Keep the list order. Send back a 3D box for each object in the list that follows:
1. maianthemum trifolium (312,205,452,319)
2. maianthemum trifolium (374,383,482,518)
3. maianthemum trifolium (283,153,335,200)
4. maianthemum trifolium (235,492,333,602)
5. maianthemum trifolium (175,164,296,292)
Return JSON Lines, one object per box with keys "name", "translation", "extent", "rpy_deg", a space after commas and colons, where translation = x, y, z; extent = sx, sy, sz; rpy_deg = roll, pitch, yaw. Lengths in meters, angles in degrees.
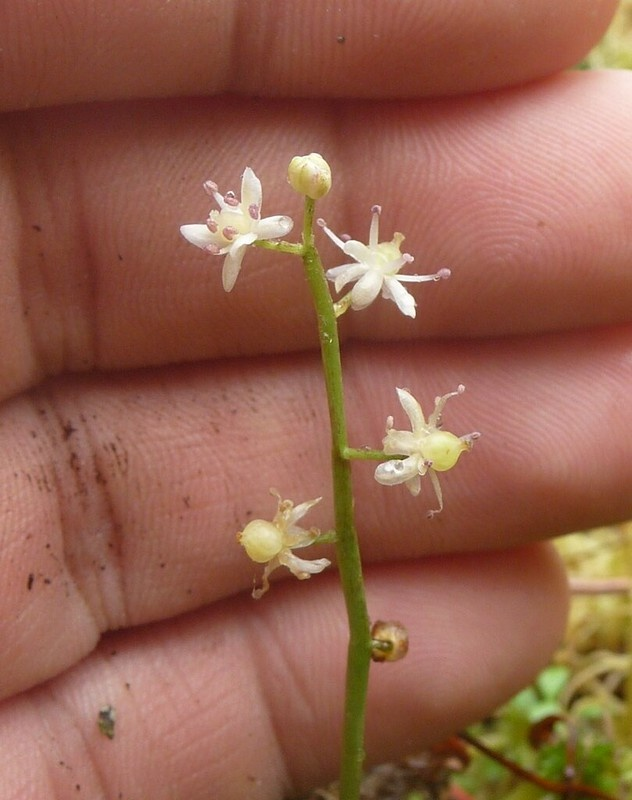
{"name": "maianthemum trifolium", "translation": [0.085, -0.192, 1.162], "extent": [0.110, 0.117, 0.085], "rpy_deg": [36, -82, -10]}
{"name": "maianthemum trifolium", "translation": [0.112, 0.036, 0.918], "extent": [0.112, 0.107, 0.063], "rpy_deg": [-5, -45, 20]}
{"name": "maianthemum trifolium", "translation": [-0.007, -0.241, 0.903], "extent": [0.032, 0.051, 0.053], "rpy_deg": [6, -98, 20]}
{"name": "maianthemum trifolium", "translation": [-0.050, 0.156, 0.971], "extent": [0.068, 0.113, 0.124], "rpy_deg": [9, -82, -20]}
{"name": "maianthemum trifolium", "translation": [-0.082, -0.180, 0.919], "extent": [0.102, 0.056, 0.140], "rpy_deg": [18, -70, 17]}
